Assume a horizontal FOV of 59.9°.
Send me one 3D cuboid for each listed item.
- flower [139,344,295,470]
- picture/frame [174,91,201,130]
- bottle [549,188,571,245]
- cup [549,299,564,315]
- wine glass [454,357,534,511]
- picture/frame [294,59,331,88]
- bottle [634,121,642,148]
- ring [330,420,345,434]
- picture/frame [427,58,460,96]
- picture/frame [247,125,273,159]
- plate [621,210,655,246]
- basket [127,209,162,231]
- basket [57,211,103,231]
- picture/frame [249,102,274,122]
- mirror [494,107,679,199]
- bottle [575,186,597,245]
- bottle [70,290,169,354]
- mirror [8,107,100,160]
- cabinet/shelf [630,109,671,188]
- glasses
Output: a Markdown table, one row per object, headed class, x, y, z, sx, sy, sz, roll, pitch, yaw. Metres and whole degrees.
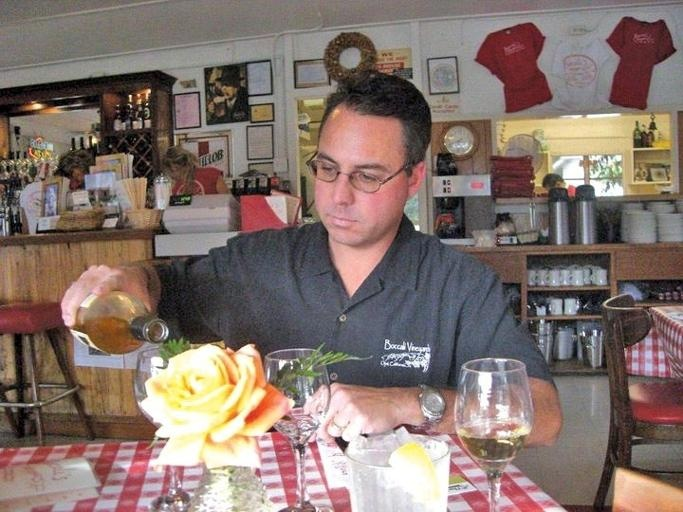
| class | x | y | z | sx | sy | sz | roll | pitch | yaw |
| --- | --- | --- | --- | --- | --- | --- | --- | --- | --- |
| flower | -0.195 | 0.258 | 1.144 | 0.237 | 0.228 | 0.247 | -18 | -20 | -7 |
| picture/frame | -1.661 | -1.572 | 6.404 | 0.470 | 0.483 | 0.035 | 1 | 2 | 16 |
| bottle | 1.760 | -0.322 | 4.817 | 0.199 | 0.457 | 0.194 | -2 | 4 | 0 |
| cup | 1.724 | 0.411 | 4.769 | 0.130 | 0.128 | 0.121 | 0 | -1 | 0 |
| wine glass | 0.324 | 0.381 | 1.255 | 0.152 | 0.337 | 0.199 | 0 | 6 | 19 |
| picture/frame | -0.288 | -1.849 | 6.005 | 0.343 | 0.222 | 0.015 | 0 | 5 | 10 |
| bottle | 3.852 | -1.530 | 7.703 | 0.094 | 0.261 | 0.185 | 0 | 6 | 25 |
| ring | -0.011 | 0.392 | 1.368 | 0.032 | 0.028 | 0.030 | 9 | 1 | 0 |
| picture/frame | 1.014 | -1.754 | 5.822 | 0.434 | 0.444 | 0.018 | 0 | 3 | 3 |
| picture/frame | -0.852 | -1.210 | 6.241 | 0.404 | 0.429 | 0.028 | 1 | 2 | 7 |
| plate | 2.328 | -0.225 | 4.663 | 0.270 | 0.246 | 0.253 | 0 | -1 | 4 |
| basket | -1.159 | -0.207 | 3.467 | 0.170 | 0.078 | 0.129 | -1 | 2 | 12 |
| basket | -1.540 | -0.232 | 3.447 | 0.196 | 0.086 | 0.143 | 1 | 7 | 9 |
| picture/frame | -0.837 | -1.510 | 6.221 | 0.230 | 0.145 | 0.012 | 4 | 14 | 16 |
| mirror | 3.005 | -1.236 | 7.071 | 1.716 | 1.013 | 0.827 | 0 | -2 | 9 |
| bottle | 1.954 | -0.327 | 4.728 | 0.160 | 0.464 | 0.263 | 0 | 6 | 21 |
| bottle | -0.484 | 0.160 | 1.374 | 0.272 | 0.151 | 0.131 | 0 | 6 | 18 |
| mirror | -3.515 | -1.485 | 7.172 | 0.619 | 0.653 | 1.144 | 6 | 11 | 27 |
| cabinet/shelf | 4.213 | -1.425 | 8.074 | 0.541 | 0.895 | 0.340 | 1 | 8 | 14 |
| glasses | 0.060 | -0.247 | 1.785 | 0.285 | 0.123 | 0.123 | -1 | 6 | 6 |
